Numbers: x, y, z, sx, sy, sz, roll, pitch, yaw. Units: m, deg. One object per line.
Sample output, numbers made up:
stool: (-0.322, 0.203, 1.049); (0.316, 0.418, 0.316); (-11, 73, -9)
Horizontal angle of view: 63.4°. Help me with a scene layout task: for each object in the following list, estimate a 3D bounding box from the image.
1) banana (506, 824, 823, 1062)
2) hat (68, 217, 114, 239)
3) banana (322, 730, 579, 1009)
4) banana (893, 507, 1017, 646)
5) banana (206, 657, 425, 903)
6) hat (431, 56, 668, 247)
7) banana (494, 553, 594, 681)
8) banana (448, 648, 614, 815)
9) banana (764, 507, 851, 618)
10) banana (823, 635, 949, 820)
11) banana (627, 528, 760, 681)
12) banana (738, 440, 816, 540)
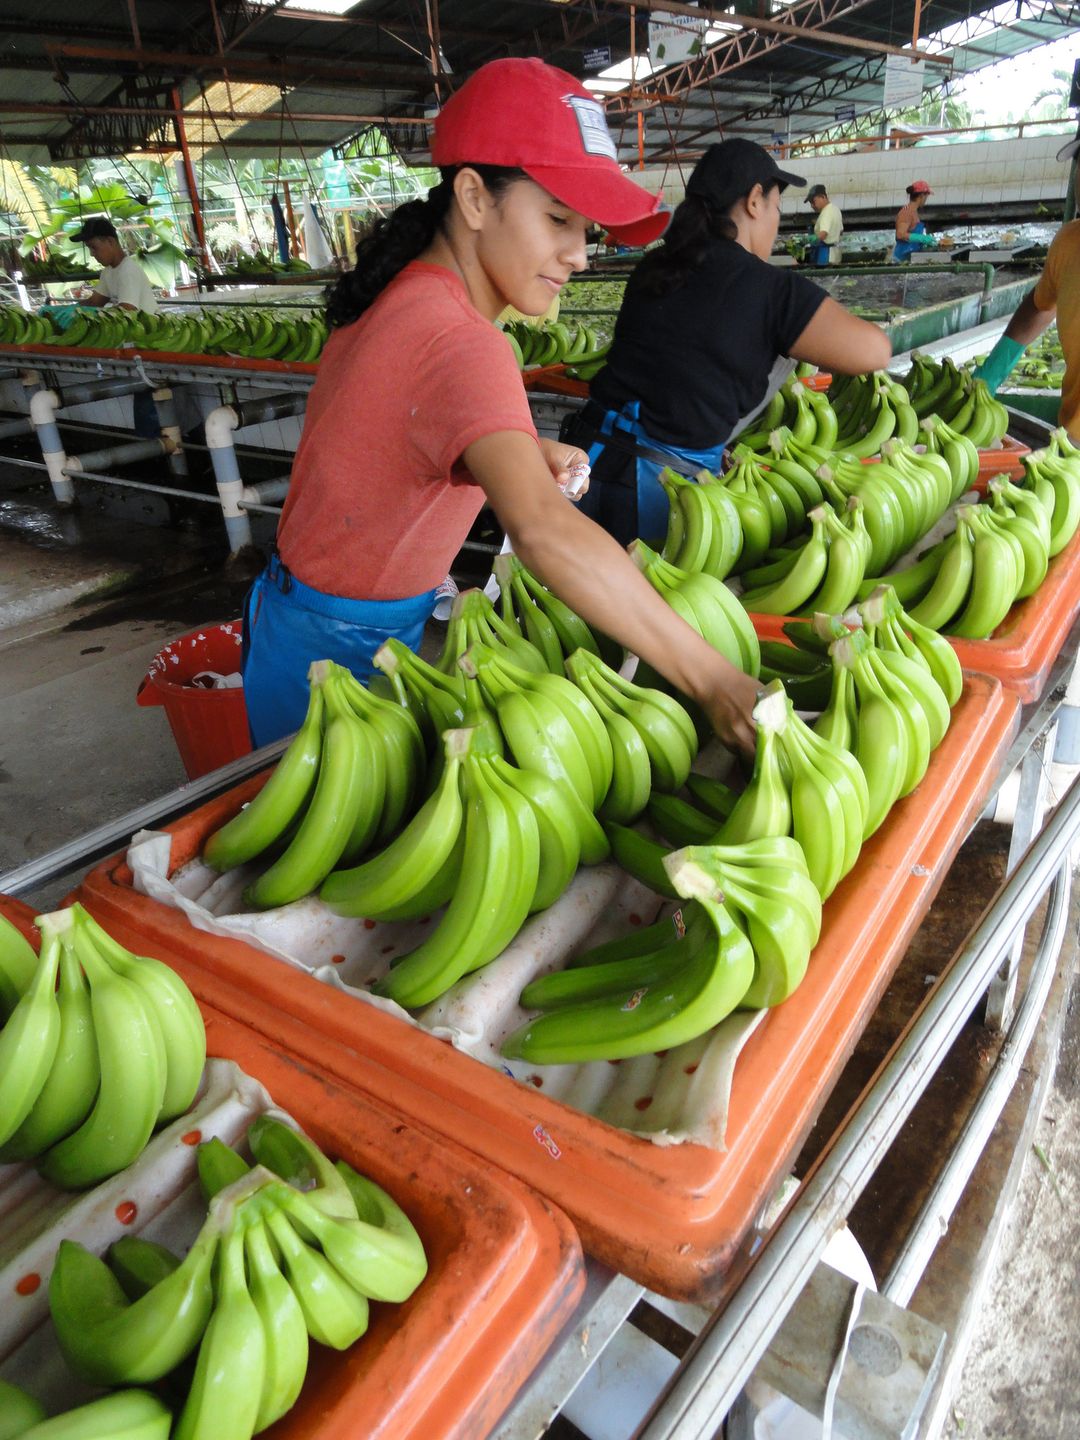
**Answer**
banana: (0.112, 0.170, 0.769); (0.304, 0.180, 0.166); (-14, 32, 10)
hat: (-3.544, -3.925, 6.968); (0.275, 0.166, 0.469); (-15, 28, -19)
banana: (-0.088, 0.171, 0.877); (0.211, 0.270, 0.087); (38, 42, 11)
banana: (0.738, -0.262, 1.461); (0.162, 0.195, 0.111); (-22, -10, -38)
banana: (-0.242, 0.077, 0.971); (0.222, 0.091, 0.285); (16, 24, 1)
hat: (-0.008, -0.814, 1.294); (0.357, 0.178, 0.225); (21, 31, 8)
banana: (0.000, -0.153, 1.365); (0.106, 0.061, 0.204); (-24, 55, -19)
banana: (0.020, -0.002, 0.988); (0.232, 0.078, 0.114); (29, 18, 1)
banana: (0.463, -0.254, 1.473); (0.075, 0.220, 0.147); (21, -9, -10)
banana: (0.396, 0.014, 1.004); (0.115, 0.115, 0.186); (16, 48, -7)
banana: (0.202, -0.139, 1.236); (0.077, 0.231, 0.121); (-40, -2, 38)
banana: (0.474, -0.448, 1.740); (0.113, 0.201, 0.068); (-49, 17, -11)
